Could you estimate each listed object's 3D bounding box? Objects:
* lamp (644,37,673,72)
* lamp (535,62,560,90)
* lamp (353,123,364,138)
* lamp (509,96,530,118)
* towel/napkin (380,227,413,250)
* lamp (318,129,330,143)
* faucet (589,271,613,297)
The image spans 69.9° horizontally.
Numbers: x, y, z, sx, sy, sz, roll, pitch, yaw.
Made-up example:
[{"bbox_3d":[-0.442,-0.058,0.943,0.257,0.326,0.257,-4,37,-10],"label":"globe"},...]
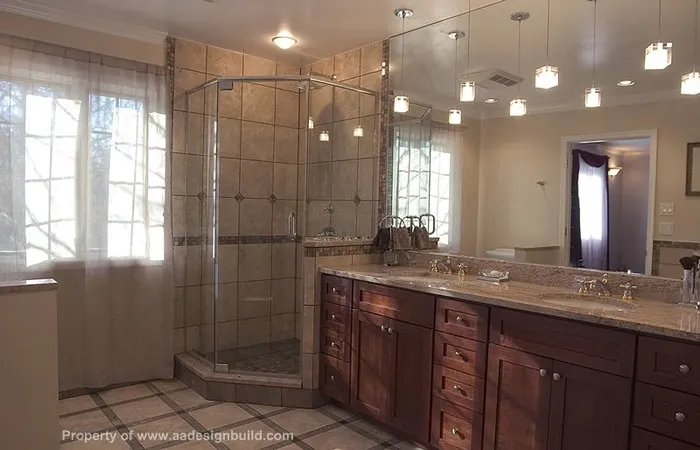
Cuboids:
[{"bbox_3d":[2.134,-1.162,3.451,0.165,0.192,0.083,9,17,29],"label":"lamp"},{"bbox_3d":[1.504,-1.123,3.800,0.183,0.174,0.179,-2,4,-39],"label":"lamp"},{"bbox_3d":[0.075,-0.870,4.577,0.098,0.107,0.096,-1,4,-22],"label":"lamp"},{"bbox_3d":[1.357,-0.946,3.989,0.098,0.184,0.186,0,1,-39],"label":"lamp"},{"bbox_3d":[0.433,0.135,4.614,0.249,0.174,0.220,-2,4,-4],"label":"towel/napkin"},{"bbox_3d":[-0.242,-0.814,4.536,0.125,0.138,0.045,0,7,-13],"label":"lamp"},{"bbox_3d":[1.808,0.432,3.610,0.160,0.197,0.146,1,-3,7],"label":"faucet"}]
